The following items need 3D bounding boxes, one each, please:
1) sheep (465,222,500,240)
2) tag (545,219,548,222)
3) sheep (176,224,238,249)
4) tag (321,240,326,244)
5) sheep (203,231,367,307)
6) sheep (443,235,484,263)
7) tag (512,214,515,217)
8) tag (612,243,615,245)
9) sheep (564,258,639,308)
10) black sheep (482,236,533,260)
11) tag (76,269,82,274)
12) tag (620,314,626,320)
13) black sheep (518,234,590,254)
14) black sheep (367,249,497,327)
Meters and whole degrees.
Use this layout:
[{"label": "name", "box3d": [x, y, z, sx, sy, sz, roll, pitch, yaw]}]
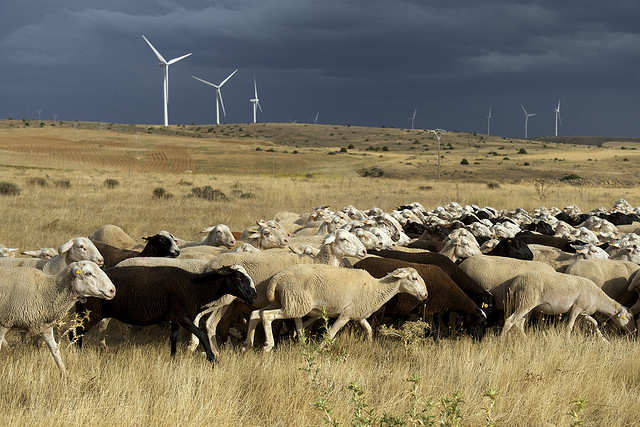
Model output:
[{"label": "sheep", "box3d": [4.963, 0.553, 21.236, 0.723, 0.250, 0.458, 15, 18, 14]}, {"label": "tag", "box3d": [8.505, 0.275, 26.009, 0.082, 0.075, 0.019, 2, 15, -11]}, {"label": "sheep", "box3d": [-3.048, 0.680, 18.556, 1.793, 0.977, 0.688, -4, 0, 25]}, {"label": "tag", "box3d": [0.092, 0.666, 15.972, 0.093, 0.085, 0.091, 0, -2, 2]}, {"label": "sheep", "box3d": [-1.155, 1.550, 15.667, 4.229, 2.291, 1.277, -1, 7, -16]}, {"label": "sheep", "box3d": [3.553, 0.932, 17.549, 0.993, 0.696, 0.580, 19, 15, 11]}, {"label": "tag", "box3d": [7.619, 0.092, 27.389, 0.073, 0.128, 0.072, -1, -8, -9]}, {"label": "tag", "box3d": [7.790, 0.812, 18.408, 0.055, 0.028, 0.215, 1, 2, 20]}, {"label": "sheep", "box3d": [6.512, 1.544, 16.481, 2.398, 1.258, 0.825, 2, -1, -10]}, {"label": "black sheep", "box3d": [4.972, 0.929, 18.312, 1.395, 0.697, 0.521, 2, 9, 5]}, {"label": "tag", "box3d": [-4.443, 1.079, 12.821, 0.108, 0.082, 0.012, 1, 2, 3]}, {"label": "tag", "box3d": [6.664, 2.275, 15.270, 0.118, 0.104, 0.030, 18, -11, -1]}, {"label": "black sheep", "box3d": [6.717, 0.864, 20.231, 1.596, 0.386, 0.643, -5, 0, 6]}, {"label": "black sheep", "box3d": [2.888, 1.926, 16.125, 3.696, 1.919, 1.822, 1, 1, 35]}]
